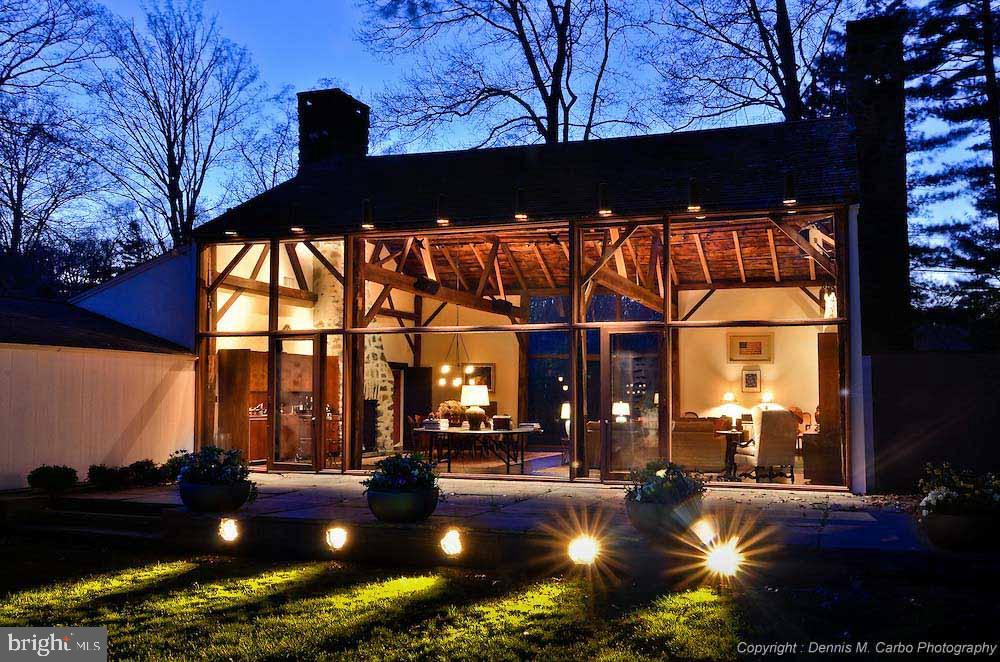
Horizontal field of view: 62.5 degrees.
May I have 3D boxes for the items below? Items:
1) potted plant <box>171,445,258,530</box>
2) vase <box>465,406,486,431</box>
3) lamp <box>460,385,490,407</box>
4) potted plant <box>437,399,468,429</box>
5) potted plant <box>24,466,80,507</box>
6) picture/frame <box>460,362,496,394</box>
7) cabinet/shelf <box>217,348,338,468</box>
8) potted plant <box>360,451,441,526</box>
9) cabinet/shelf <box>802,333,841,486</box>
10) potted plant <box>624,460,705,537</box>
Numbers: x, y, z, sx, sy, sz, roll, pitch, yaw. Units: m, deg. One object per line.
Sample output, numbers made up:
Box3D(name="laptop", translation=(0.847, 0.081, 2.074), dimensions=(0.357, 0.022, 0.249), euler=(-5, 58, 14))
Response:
Box3D(name="potted plant", translation=(-3.893, 2.070, 11.348), dimensions=(0.898, 0.763, 0.896), euler=(0, -9, 5))
Box3D(name="vase", translation=(-0.493, 1.726, 16.298), dimensions=(0.383, 0.440, 0.350), euler=(-4, 5, -36))
Box3D(name="lamp", translation=(-0.441, 1.196, 15.311), dimensions=(0.522, 0.548, 0.519), euler=(-1, 0, -19))
Box3D(name="potted plant", translation=(-1.013, 1.799, 17.575), dimensions=(0.523, 0.502, 0.475), euler=(4, -5, -44))
Box3D(name="potted plant", translation=(-6.780, 2.368, 12.538), dimensions=(0.547, 0.548, 0.551), euler=(-1, -1, -3))
Box3D(name="picture/frame", translation=(-0.529, 1.165, 19.963), dimensions=(0.805, 0.772, 0.057), euler=(0, -8, -1))
Box3D(name="cabinet/shelf", translation=(-4.386, 1.505, 15.919), dimensions=(1.096, 2.066, 2.164), euler=(-4, -7, 22))
Box3D(name="potted plant", translation=(-1.245, 1.998, 10.594), dimensions=(0.837, 0.730, 0.827), euler=(6, -18, -24))
Box3D(name="cabinet/shelf", translation=(5.328, 1.320, 13.674), dimensions=(0.594, 2.422, 0.786), euler=(1, 9, 21))
Box3D(name="potted plant", translation=(1.965, 2.037, 10.102), dimensions=(0.756, 0.572, 0.838), euler=(1, -11, -2))
